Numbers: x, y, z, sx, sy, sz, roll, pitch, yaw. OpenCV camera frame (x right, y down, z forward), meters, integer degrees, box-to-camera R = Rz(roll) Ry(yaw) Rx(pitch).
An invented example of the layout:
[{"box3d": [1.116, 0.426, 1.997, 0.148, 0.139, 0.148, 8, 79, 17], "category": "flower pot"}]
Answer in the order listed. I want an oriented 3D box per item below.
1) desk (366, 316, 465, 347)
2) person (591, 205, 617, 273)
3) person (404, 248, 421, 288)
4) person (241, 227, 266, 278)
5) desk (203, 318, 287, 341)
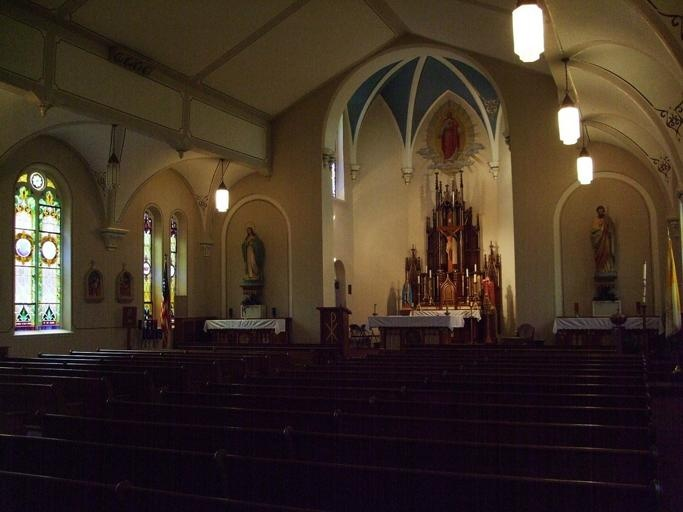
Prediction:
[{"box3d": [1.656, 1.688, 14.176, 2.079, 0.730, 1.354, 0, -7, -9], "category": "desk"}, {"box3d": [5.566, -0.346, 13.325, 0.656, 1.396, 0.351, 2, -6, -25], "category": "person"}, {"box3d": [2.220, 0.403, 19.416, 0.411, 1.548, 0.159, 2, -26, 0], "category": "person"}, {"box3d": [-2.254, -0.049, 16.187, 0.580, 1.366, 0.321, -3, -6, 24], "category": "person"}, {"box3d": [-2.225, 1.689, 14.936, 1.811, 0.428, 0.739, 0, -7, -10], "category": "desk"}]
